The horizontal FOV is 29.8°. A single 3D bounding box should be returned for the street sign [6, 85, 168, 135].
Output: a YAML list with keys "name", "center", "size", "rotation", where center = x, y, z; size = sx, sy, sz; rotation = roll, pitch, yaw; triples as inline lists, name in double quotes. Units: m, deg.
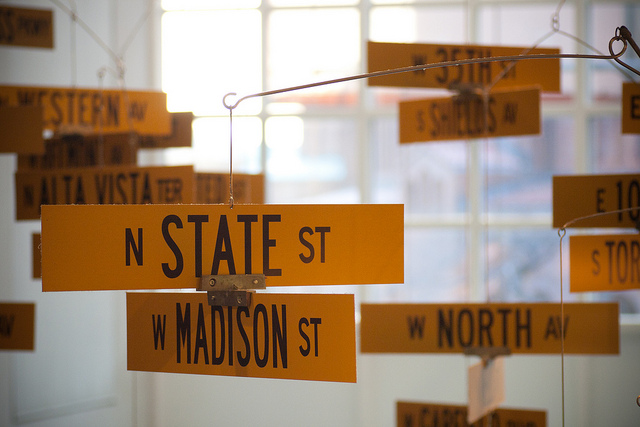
- name: "street sign"
  center: [-1.069, -0.475, 5.515]
  size: [0.729, 0.194, 0.068]
  rotation: [1, -8, -8]
